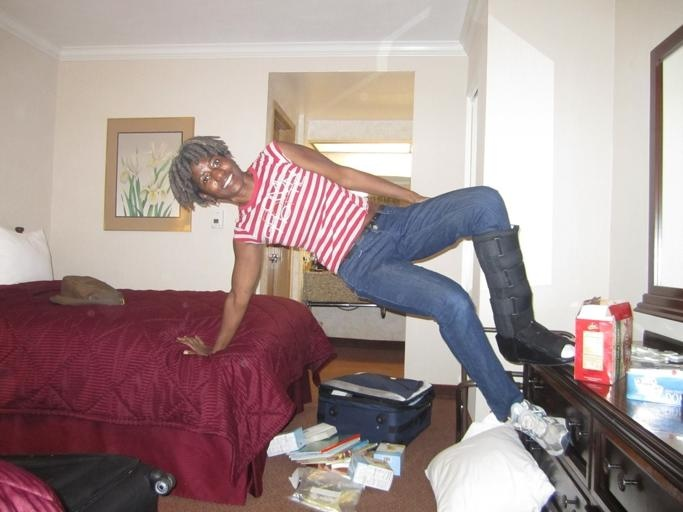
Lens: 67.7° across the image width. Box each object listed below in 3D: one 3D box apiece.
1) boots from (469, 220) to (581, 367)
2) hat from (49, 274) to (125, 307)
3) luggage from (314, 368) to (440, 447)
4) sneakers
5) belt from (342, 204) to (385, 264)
[{"bbox_3d":[0.738,0.162,2.062,0.387,0.562,0.175,1,5,22],"label":"boots"},{"bbox_3d":[-1.558,0.223,3.131,0.270,0.107,0.246,4,9,5],"label":"hat"},{"bbox_3d":[0.201,0.937,3.206,0.445,0.232,0.463,-1,-4,30],"label":"luggage"},{"bbox_3d":[0.814,0.704,2.127,0.275,0.150,0.109,32,17,34],"label":"sneakers"},{"bbox_3d":[0.106,-0.106,2.280,0.061,0.247,0.184,26,10,-2],"label":"belt"}]
